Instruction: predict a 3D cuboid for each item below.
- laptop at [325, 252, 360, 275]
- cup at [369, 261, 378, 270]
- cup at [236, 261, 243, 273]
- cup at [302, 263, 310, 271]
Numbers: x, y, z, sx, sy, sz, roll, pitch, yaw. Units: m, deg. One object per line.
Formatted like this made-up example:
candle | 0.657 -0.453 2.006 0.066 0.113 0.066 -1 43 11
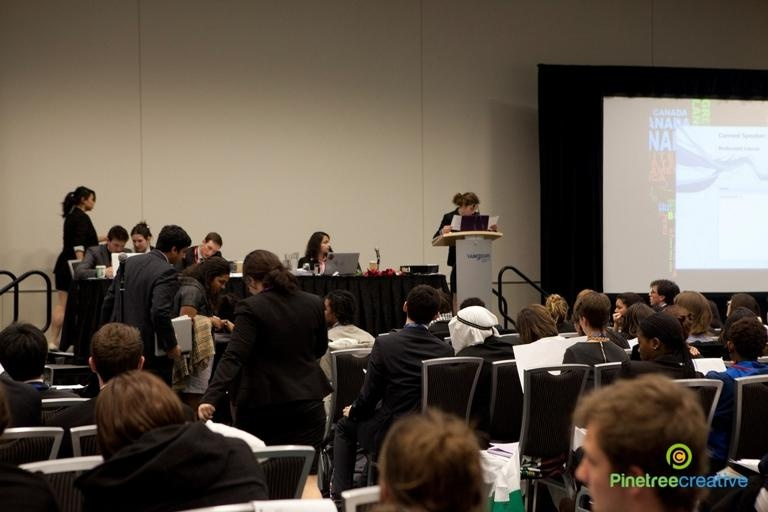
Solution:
laptop | -0.501 0.072 8.055 0.348 0.255 0.254 1 6 -17
cup | -0.129 0.116 8.467 0.093 0.112 0.099 0 -4 0
cup | -1.806 0.134 8.404 0.123 0.180 0.127 2 -2 0
cup | -0.958 0.126 8.217 0.098 0.109 0.077 0 -5 9
